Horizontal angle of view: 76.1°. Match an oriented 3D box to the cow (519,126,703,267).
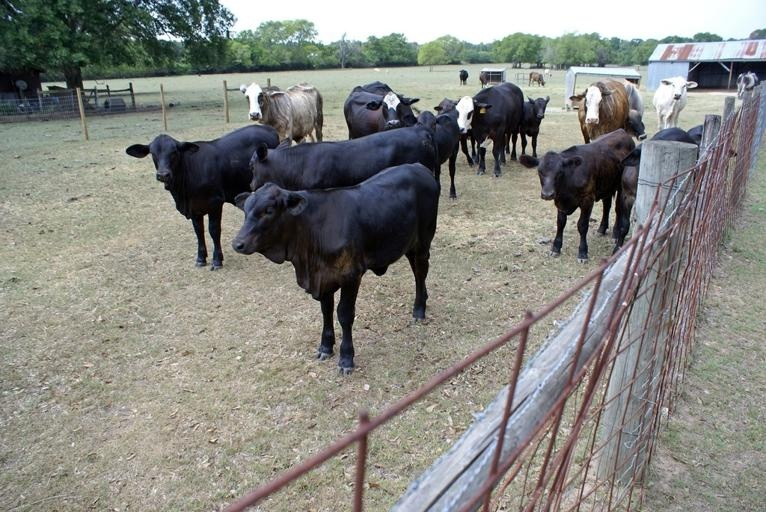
[{"bbox_3d":[3.667,-1.026,8.504,2.191,1.849,1.312,-20,26,-40],"label":"cow"}]
